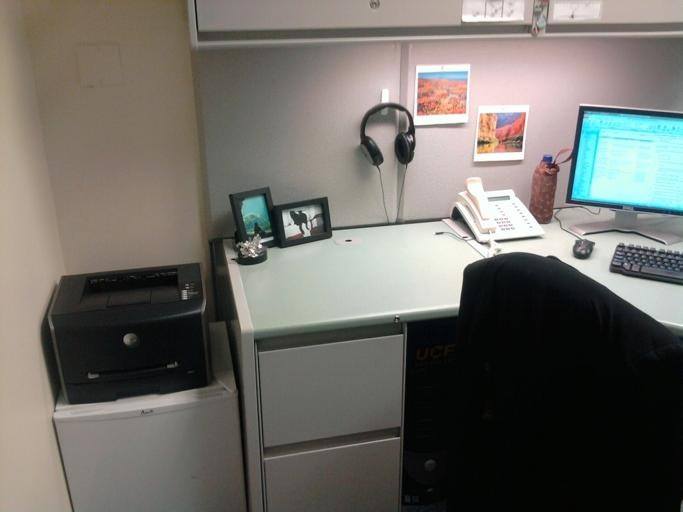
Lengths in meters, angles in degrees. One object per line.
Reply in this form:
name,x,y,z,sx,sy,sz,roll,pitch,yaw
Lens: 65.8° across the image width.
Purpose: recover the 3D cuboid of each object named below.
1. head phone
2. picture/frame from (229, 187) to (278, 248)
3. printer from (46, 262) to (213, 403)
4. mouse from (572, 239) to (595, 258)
head phone,0.176,-0.486,2.110,0.206,0.267,0.108,-3,-8,14
picture/frame,-0.333,-0.155,2.041,0.156,0.223,0.123,-13,27,-10
printer,-0.700,0.278,1.821,0.529,0.416,0.398,-5,22,-13
mouse,0.876,-0.038,1.928,0.050,0.033,0.088,10,31,33
